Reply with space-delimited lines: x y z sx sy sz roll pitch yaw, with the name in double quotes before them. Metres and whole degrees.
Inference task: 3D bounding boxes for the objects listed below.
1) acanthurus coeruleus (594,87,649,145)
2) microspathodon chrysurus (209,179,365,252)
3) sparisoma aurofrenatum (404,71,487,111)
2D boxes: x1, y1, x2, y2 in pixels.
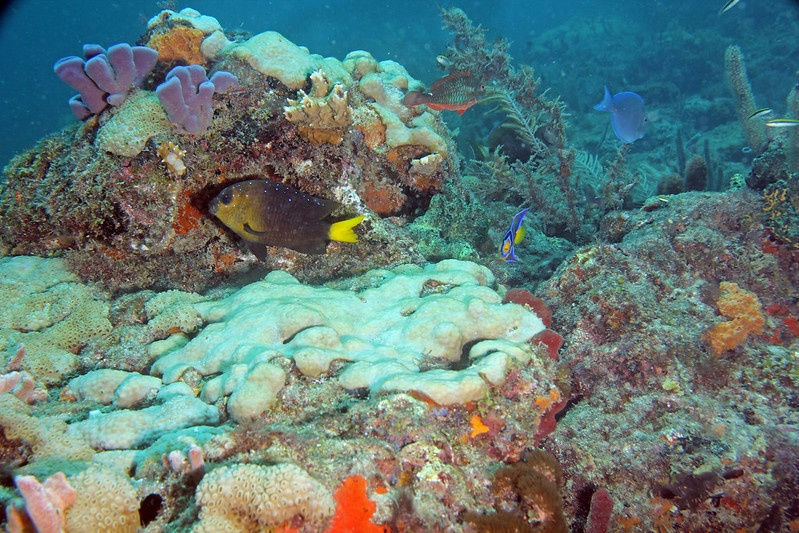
"acanthurus coeruleus" 4.180 -2.773 13.023 0.833 1.085 0.430 15 42 20
"microspathodon chrysurus" -1.947 -0.800 11.424 2.419 1.224 0.675 10 26 -14
"sparisoma aurofrenatum" 0.872 -3.047 12.364 1.644 0.790 1.139 4 19 -2
